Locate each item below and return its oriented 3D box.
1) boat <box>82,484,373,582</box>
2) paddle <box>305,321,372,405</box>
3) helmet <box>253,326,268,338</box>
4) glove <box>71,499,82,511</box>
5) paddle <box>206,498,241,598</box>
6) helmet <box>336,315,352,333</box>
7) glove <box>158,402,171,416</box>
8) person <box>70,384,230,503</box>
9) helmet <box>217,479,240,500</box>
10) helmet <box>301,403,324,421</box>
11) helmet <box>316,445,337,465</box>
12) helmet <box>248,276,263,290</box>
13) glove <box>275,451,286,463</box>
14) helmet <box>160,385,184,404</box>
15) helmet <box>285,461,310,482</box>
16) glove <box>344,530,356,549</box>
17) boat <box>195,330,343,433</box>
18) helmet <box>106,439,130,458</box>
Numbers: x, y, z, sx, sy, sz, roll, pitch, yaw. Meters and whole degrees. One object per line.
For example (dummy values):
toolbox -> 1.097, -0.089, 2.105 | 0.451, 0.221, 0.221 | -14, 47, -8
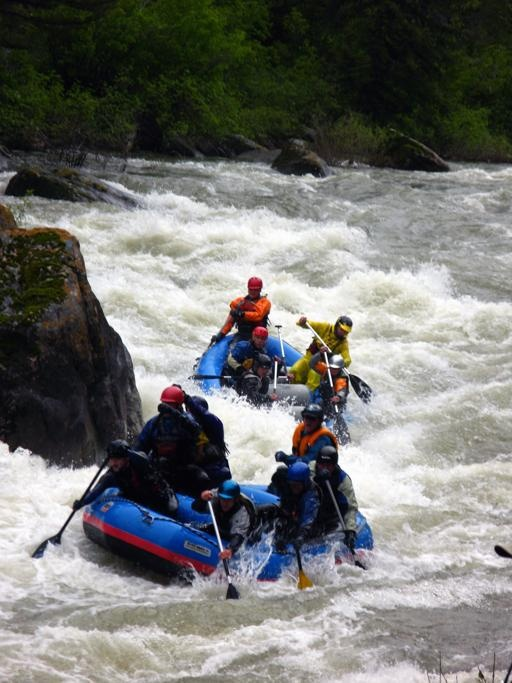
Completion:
boat -> -0.370, 1.724, 7.614 | 1.649, 0.393, 1.068 | 14, -9, -1
paddle -> 1.067, 0.316, 11.927 | 0.215, 0.131, 1.433 | -21, 65, -43
helmet -> 0.059, -0.110, 11.504 | 0.137, 0.137, 0.160 | 5, 38, -9
glove -> -1.492, 1.371, 7.591 | 0.028, 0.079, 0.084 | 37, 12, 18
paddle -> -0.255, 1.690, 7.424 | 0.229, 0.590, 0.701 | 6, 9, -15
helmet -> 1.135, -0.231, 11.738 | 0.170, 0.119, 0.223 | 18, 20, -23
glove -> -0.831, 0.610, 8.176 | 0.101, 0.110, 0.128 | 15, 20, 43
person -> -0.653, 0.984, 8.360 | 0.863, 0.712, 1.317 | 20, 26, 1
helmet -> -0.224, 1.236, 7.535 | 0.185, 0.175, 0.179 | 8, 9, 0
helmet -> 0.539, 0.676, 8.612 | 0.193, 0.147, 0.193 | 8, 8, 4
helmet -> 0.621, 0.990, 7.945 | 0.160, 0.119, 0.162 | 12, 16, 1
helmet -> -0.017, -0.781, 12.177 | 0.159, 0.165, 0.229 | 8, 8, 2
glove -> 0.221, 1.037, 8.116 | 0.059, 0.112, 0.085 | -26, 42, -2
helmet -> -0.770, 0.496, 8.317 | 0.225, 0.154, 0.120 | 2, 11, -32
helmet -> 0.368, 1.097, 7.689 | 0.190, 0.144, 0.211 | 8, 8, 3
glove -> 0.788, 1.670, 7.670 | 0.055, 0.135, 0.110 | -6, 0, -34
boat -> -0.172, 0.366, 11.382 | 1.089, 0.332, 1.499 | 9, 20, -22
helmet -> -1.157, 0.907, 7.683 | 0.137, 0.132, 0.171 | 4, 15, 0
